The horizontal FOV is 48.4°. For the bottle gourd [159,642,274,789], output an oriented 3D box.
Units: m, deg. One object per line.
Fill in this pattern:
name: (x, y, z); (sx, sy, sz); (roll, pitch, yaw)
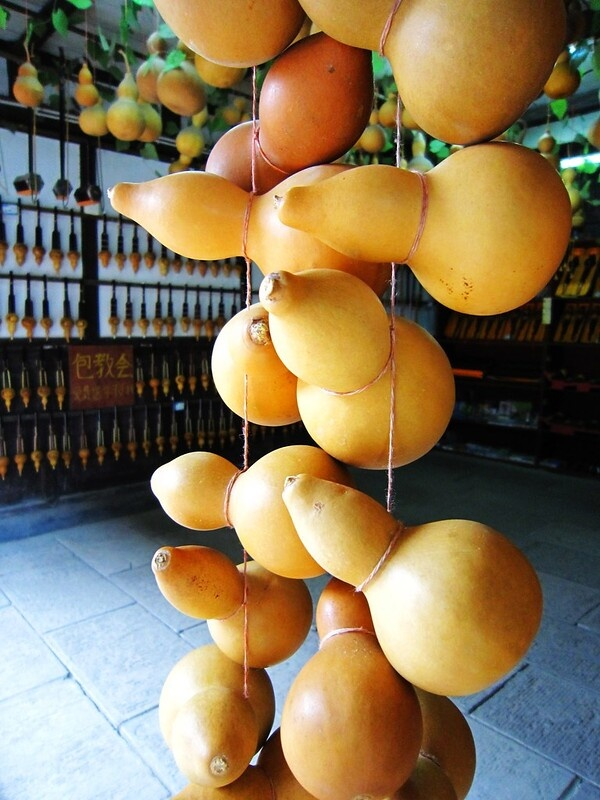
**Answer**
bottle gourd: (-0.083, 0.312, 0.718); (0.119, 0.113, 0.154); (20, -12, 2)

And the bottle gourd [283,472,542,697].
bottle gourd: (0.086, 0.150, 0.575); (0.223, 0.135, 0.132); (35, -7, 1)
